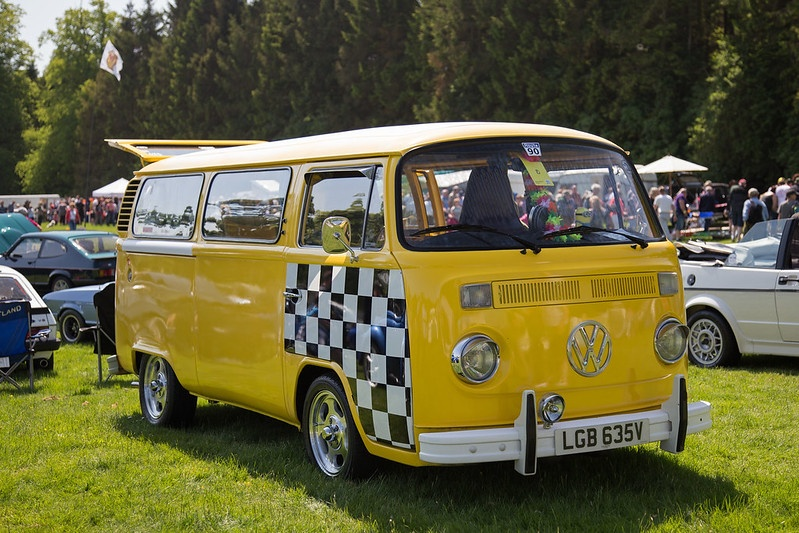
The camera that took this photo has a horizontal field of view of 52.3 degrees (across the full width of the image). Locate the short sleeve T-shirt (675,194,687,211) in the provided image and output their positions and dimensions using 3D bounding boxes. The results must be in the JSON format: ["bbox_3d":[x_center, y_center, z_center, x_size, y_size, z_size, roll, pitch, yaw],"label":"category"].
[{"bbox_3d":[10.069,-2.209,29.083,0.270,0.595,0.538,-4,12,-12],"label":"short sleeve T-shirt"}]

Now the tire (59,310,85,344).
[{"bbox_3d":[-6.473,1.178,16.082,0.524,0.618,0.197,10,16,41],"label":"tire"}]

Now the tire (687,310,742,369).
[{"bbox_3d":[4.777,1.104,12.247,0.291,0.889,0.775,1,6,-31],"label":"tire"}]

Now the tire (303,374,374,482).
[{"bbox_3d":[-0.591,1.643,8.319,0.332,1.080,0.927,-7,9,-37],"label":"tire"}]

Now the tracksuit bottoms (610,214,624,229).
[{"bbox_3d":[2.234,-0.443,8.370,0.145,0.156,0.035,-4,-15,-42],"label":"tracksuit bottoms"}]

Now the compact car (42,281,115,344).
[{"bbox_3d":[-5.790,0.893,14.696,1.804,0.977,1.173,-2,1,31],"label":"compact car"}]

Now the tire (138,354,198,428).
[{"bbox_3d":[-2.900,1.571,10.303,0.307,0.995,0.851,-2,4,-38],"label":"tire"}]

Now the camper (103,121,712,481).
[{"bbox_3d":[-0.581,0.227,9.419,3.210,3.192,5.930,-1,3,-36],"label":"camper"}]

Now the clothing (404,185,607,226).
[{"bbox_3d":[1.257,-0.584,8.144,1.747,0.477,0.170,-3,6,-12],"label":"clothing"}]
